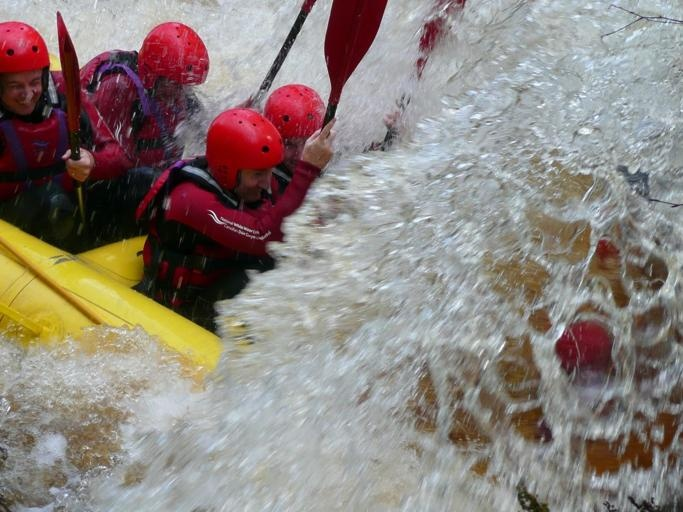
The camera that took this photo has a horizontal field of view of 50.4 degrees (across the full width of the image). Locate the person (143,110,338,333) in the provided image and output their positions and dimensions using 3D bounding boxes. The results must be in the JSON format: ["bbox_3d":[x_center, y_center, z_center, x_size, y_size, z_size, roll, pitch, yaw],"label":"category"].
[{"bbox_3d":[-0.596,-0.076,3.852,0.981,1.391,0.641,17,23,12],"label":"person"}]

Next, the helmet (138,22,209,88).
[{"bbox_3d":[-1.016,-1.244,4.507,0.431,0.399,0.344,6,30,-4],"label":"helmet"}]

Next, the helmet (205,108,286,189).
[{"bbox_3d":[-0.498,-0.554,3.699,0.412,0.382,0.349,10,24,8],"label":"helmet"}]

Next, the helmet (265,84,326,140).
[{"bbox_3d":[-0.281,-0.825,4.151,0.263,0.349,0.356,9,21,-12],"label":"helmet"}]
